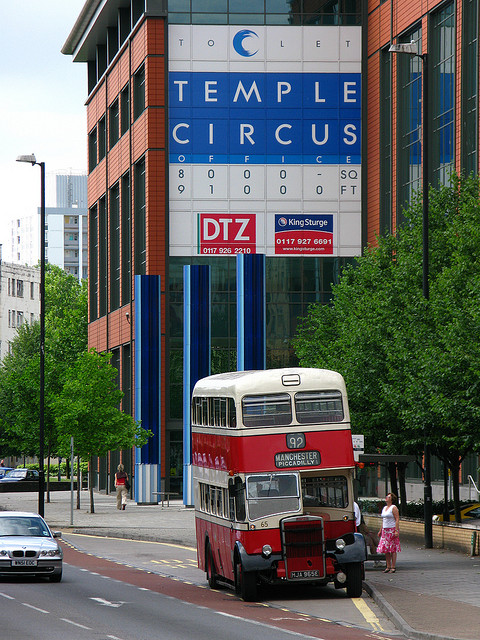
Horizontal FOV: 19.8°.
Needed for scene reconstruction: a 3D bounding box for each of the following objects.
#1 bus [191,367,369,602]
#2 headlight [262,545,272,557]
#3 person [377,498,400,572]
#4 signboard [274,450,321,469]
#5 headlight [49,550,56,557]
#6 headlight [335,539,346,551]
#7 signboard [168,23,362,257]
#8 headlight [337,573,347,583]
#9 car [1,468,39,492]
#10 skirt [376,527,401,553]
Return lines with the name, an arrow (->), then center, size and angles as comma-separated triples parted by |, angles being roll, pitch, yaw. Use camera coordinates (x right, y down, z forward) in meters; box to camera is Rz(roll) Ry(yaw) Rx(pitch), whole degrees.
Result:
bus -> 0.670, 2.723, 24.121 | 1.947, 3.860, 5.355 | -2, -1, -7
headlight -> 0.417, 3.616, 21.437 | 0.125, 0.160, 0.140 | 1, -4, -2
person -> 2.750, 3.975, 25.514 | 0.401, 1.368, 1.320 | -3, -5, 6
signboard -> 0.920, 2.232, 22.053 | 0.808, 0.261, 0.138 | -1, -5, -28
headlight -> -3.272, 4.036, 23.754 | 0.026, 0.121, 0.128 | -7, -6, 44
headlight -> 1.606, 3.602, 21.995 | 0.172, 0.175, 0.140 | -3, -5, -6
signboard -> 1.036, -7.503, 56.728 | 7.828, 10.012, 0.925 | -3, -5, -7
headlight -> 1.622, 4.104, 21.860 | 0.112, 0.165, 0.198 | -5, -6, 19
car -> -11.346, 8.222, 70.084 | 1.867, 1.171, 4.739 | -3, -6, -10
skirt -> 2.718, 4.040, 25.136 | 0.442, 0.640, 0.424 | 1, 2, 9
